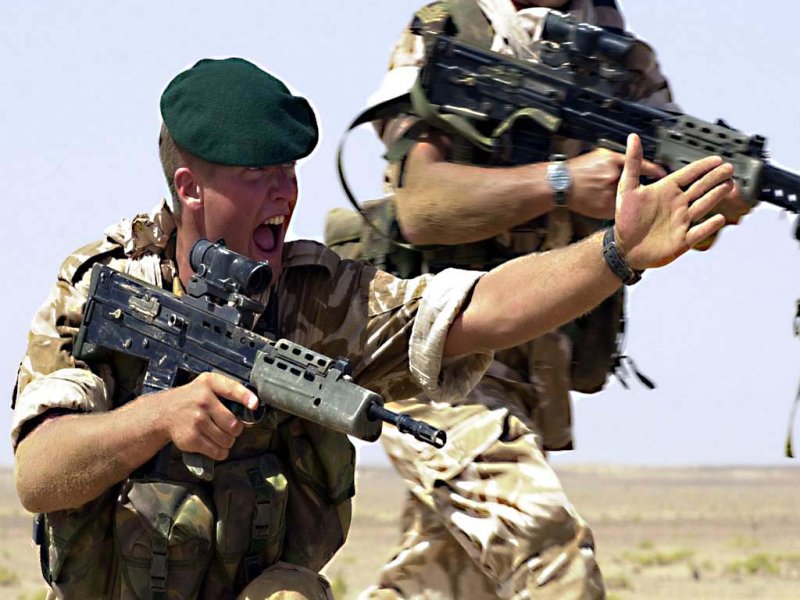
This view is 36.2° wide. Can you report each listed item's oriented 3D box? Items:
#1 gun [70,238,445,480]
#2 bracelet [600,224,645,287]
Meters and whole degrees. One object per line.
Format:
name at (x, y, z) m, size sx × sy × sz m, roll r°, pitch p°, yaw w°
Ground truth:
gun at (-0.616, 0.325, 4.521) m, size 1.424 × 0.944 × 0.282 m, roll 21°, pitch -5°, yaw 15°
bracelet at (0.794, -0.162, 4.367) m, size 0.143 × 0.207 × 0.074 m, roll 3°, pitch -11°, yaw 5°
